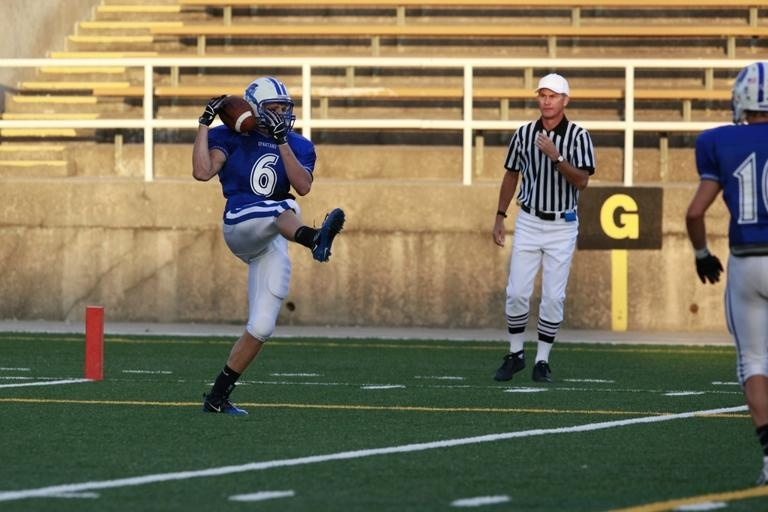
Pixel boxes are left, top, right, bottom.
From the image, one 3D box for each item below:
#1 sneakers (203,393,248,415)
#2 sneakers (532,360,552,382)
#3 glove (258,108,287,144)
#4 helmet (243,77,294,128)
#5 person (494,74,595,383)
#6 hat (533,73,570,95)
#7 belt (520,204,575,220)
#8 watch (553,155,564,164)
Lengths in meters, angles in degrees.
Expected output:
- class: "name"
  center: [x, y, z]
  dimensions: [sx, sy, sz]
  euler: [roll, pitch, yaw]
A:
- class: "sneakers"
  center: [-1.620, 1.458, 15.326]
  dimensions: [0.487, 0.192, 0.180]
  euler: [3, 1, -1]
- class: "sneakers"
  center: [1.720, 1.223, 16.603]
  dimensions: [0.206, 0.240, 0.180]
  euler: [2, 0, 6]
- class: "glove"
  center: [-1.115, -1.294, 15.210]
  dimensions: [0.299, 0.368, 0.128]
  euler: [2, 0, -2]
- class: "helmet"
  center: [-1.131, -1.557, 15.484]
  dimensions: [0.552, 0.434, 0.449]
  euler: [11, 8, 40]
- class: "person"
  center: [1.710, -0.311, 16.606]
  dimensions: [1.081, 3.307, 0.643]
  euler: [2, 0, 16]
- class: "hat"
  center: [1.836, -1.853, 16.575]
  dimensions: [0.317, 0.234, 0.353]
  euler: [2, 1, 10]
- class: "belt"
  center: [1.784, -0.471, 16.613]
  dimensions: [0.598, 0.166, 0.162]
  euler: [2, 0, 3]
- class: "watch"
  center: [1.864, -1.022, 16.304]
  dimensions: [0.094, 0.052, 0.073]
  euler: [-24, 19, 38]
